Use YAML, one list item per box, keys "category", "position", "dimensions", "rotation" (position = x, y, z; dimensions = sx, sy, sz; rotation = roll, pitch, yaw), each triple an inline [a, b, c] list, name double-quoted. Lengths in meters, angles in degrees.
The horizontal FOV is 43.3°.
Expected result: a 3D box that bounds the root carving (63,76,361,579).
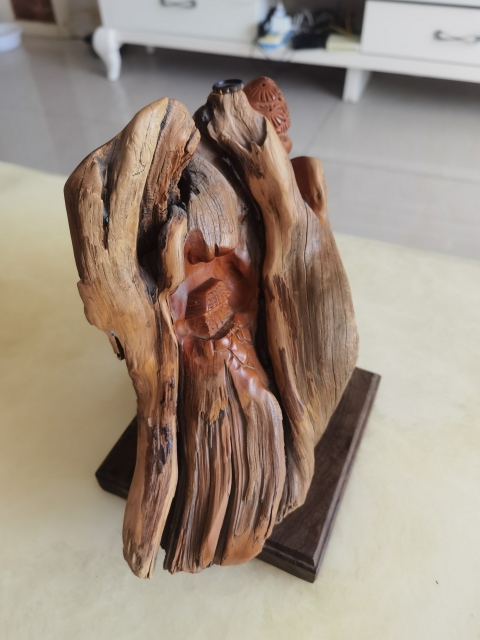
- category: "root carving"
  position: [-0.018, 0.023, 0.784]
  dimensions: [0.260, 0.592, 0.461]
  rotation: [20, 44, 24]
